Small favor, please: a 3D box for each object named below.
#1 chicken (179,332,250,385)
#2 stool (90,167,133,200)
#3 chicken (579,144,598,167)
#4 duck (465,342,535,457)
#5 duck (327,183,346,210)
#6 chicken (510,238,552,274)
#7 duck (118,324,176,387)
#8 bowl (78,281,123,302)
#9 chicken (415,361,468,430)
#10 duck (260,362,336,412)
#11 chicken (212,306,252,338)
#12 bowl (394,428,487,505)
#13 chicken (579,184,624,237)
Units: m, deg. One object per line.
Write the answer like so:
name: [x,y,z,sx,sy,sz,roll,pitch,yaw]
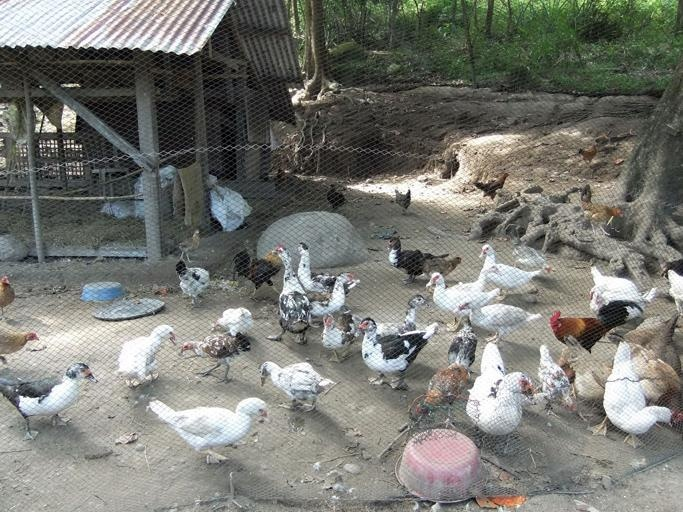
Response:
chicken: [-1.266,1.009,6.540,0.724,0.395,0.318,-11,2,-23]
stool: [-3.800,-1.183,10.683,0.662,0.539,1.901,-6,18,-20]
chicken: [4.576,-1.903,11.964,0.341,0.401,0.732,8,19,18]
duck: [1.452,1.337,5.946,0.549,0.641,0.785,6,19,14]
duck: [-0.124,-1.193,12.766,0.260,0.472,0.672,-20,25,4]
chicken: [2.501,0.057,8.575,0.388,0.307,0.770,-13,19,-30]
duck: [-1.982,1.005,6.469,0.375,0.497,0.580,8,20,17]
bowl: [-3.055,0.442,8.209,0.533,0.164,0.428,-5,18,-17]
chicken: [0.936,1.277,5.961,0.639,0.480,0.547,-1,9,3]
duck: [-0.421,1.244,6.149,0.687,0.435,0.340,0,20,-2]
chicken: [-1.188,0.724,7.029,0.465,0.248,0.226,-13,-13,13]
bowl: [0.828,1.759,5.410,0.670,0.437,0.471,-2,19,-7]
chicken: [3.754,-0.677,9.442,0.810,0.733,0.629,1,9,2]
